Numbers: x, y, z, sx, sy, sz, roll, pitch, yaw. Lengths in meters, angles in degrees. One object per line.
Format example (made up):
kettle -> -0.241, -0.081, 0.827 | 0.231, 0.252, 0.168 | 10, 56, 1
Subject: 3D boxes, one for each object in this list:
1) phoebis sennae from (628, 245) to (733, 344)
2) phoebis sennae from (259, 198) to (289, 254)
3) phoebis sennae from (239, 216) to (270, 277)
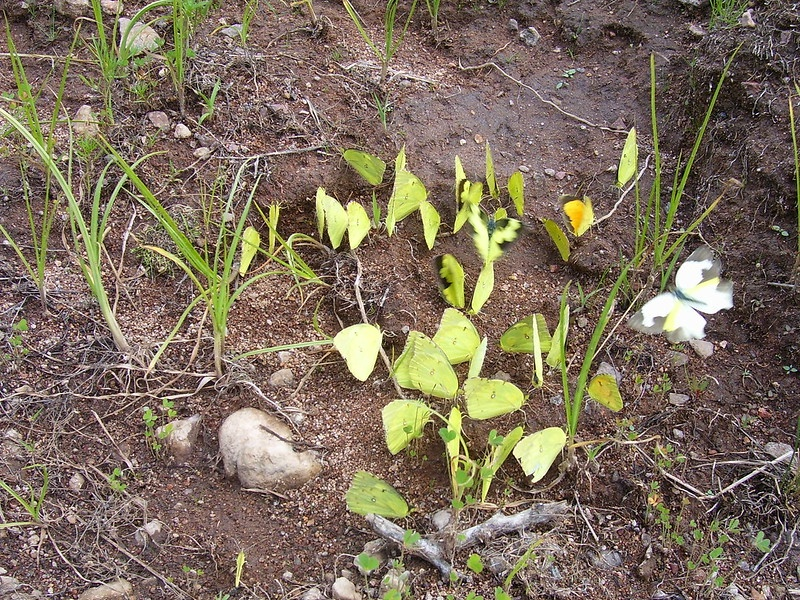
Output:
phoebis sennae -> 1.141, 0.005, 2.833 | 0.236, 0.177, 0.522 | 42, 49, 21
phoebis sennae -> -0.536, -0.328, 3.151 | 0.118, 0.250, 0.115 | 0, 15, -32
phoebis sennae -> -0.640, -0.222, 3.072 | 0.100, 0.255, 0.040 | 7, 35, -24
